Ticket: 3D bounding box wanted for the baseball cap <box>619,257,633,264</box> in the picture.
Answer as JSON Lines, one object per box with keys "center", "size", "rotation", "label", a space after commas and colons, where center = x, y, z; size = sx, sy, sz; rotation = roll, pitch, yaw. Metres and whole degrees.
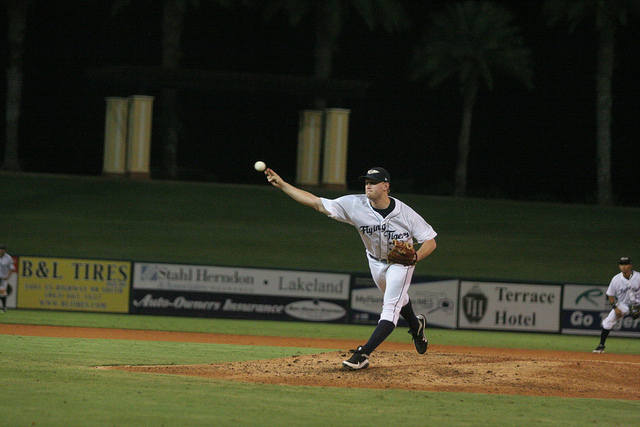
{"center": [9.717, 1.501, 43.784], "size": [0.409, 0.209, 0.581], "rotation": [0, -6, 30], "label": "baseball cap"}
